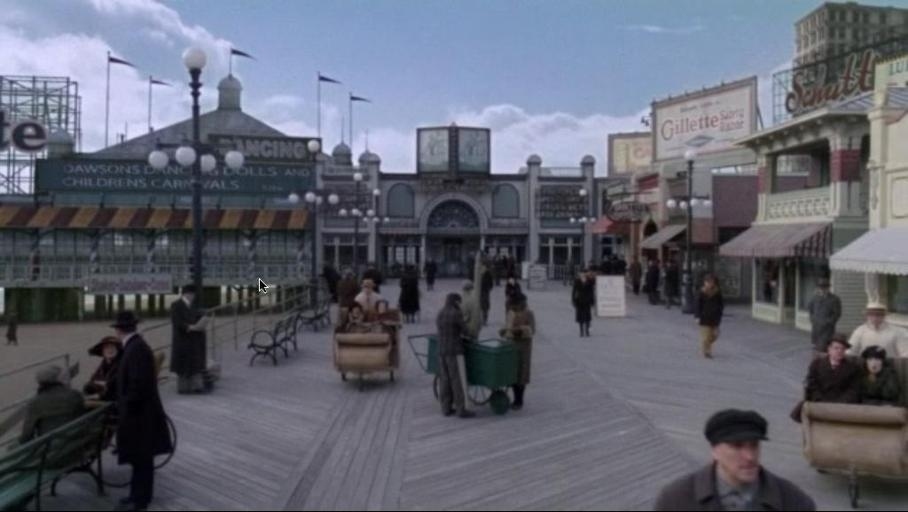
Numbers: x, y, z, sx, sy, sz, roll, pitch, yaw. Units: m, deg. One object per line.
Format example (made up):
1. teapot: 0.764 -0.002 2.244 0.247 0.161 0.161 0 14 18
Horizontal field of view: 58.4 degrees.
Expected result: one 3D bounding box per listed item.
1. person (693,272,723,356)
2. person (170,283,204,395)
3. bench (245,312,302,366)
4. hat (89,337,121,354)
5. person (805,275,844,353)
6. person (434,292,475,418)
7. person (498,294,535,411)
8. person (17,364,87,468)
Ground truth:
1. person: 9.343 2.162 29.743 1.305 2.919 0.992 2 -5 -18
2. person: -8.444 2.690 25.732 1.043 3.135 1.389 -3 0 -18
3. bench: -6.616 2.993 29.852 1.795 1.719 2.840 -3 -1 -12
4. hat: -10.008 2.516 23.076 0.829 0.256 0.799 -10 -11 -20
5. person: 12.875 2.283 28.200 0.887 2.858 1.145 -3 4 -30
6. person: 0.072 2.962 25.288 1.137 3.639 1.239 -4 2 -33
7. person: 1.927 2.981 25.655 1.205 3.373 1.015 0 -1 4
8. person: -11.093 4.835 22.519 1.173 3.443 1.619 8 12 31
